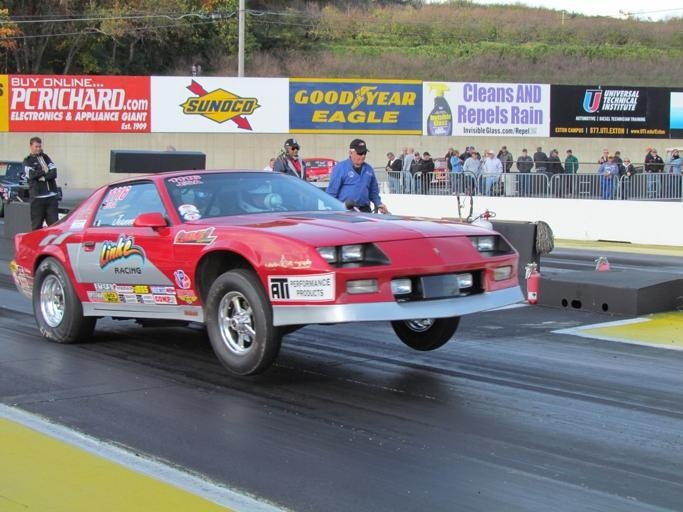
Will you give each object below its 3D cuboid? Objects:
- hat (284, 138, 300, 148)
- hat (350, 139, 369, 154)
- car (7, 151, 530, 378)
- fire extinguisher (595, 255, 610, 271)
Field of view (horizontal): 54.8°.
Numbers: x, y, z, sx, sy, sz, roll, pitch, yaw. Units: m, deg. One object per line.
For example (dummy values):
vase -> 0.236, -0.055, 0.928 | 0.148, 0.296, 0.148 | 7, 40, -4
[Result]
hat -> -0.847, -1.912, 11.072 | 0.195, 0.172, 0.392 | -1, 6, -9
hat -> 0.238, -1.572, 9.280 | 0.181, 0.146, 0.248 | -3, 13, -37
car -> -0.948, 0.089, 6.266 | 4.823, 1.870, 1.492 | 4, 6, 31
fire extinguisher -> 4.870, 0.119, 12.290 | 0.268, 0.315, 0.199 | -2, 1, -38
